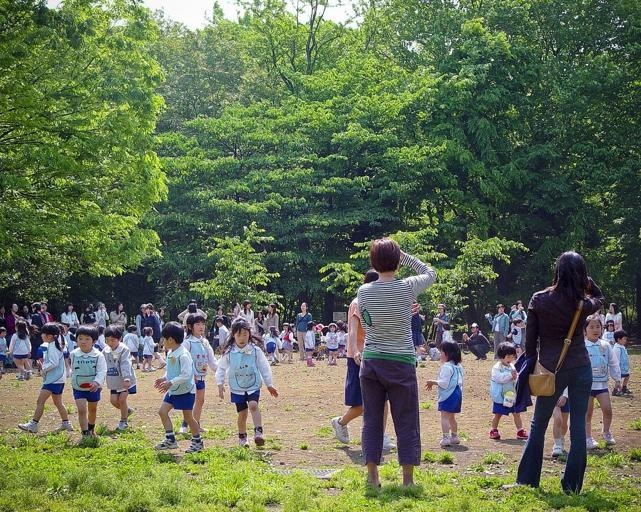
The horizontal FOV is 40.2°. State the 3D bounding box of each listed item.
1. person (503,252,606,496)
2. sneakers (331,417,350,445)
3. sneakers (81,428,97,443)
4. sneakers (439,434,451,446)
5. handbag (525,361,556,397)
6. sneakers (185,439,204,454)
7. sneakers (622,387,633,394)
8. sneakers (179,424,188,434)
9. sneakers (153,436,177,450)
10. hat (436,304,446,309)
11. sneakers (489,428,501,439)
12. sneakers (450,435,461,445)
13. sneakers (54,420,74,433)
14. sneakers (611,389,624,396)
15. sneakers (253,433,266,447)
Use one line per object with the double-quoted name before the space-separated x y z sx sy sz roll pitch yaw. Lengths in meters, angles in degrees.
"person" 3.523 1.696 12.953 1.153 3.528 0.457 -1 -4 17
"sneakers" 0.340 2.996 14.983 0.221 0.560 0.193 -18 1 38
"sneakers" -3.952 3.099 14.904 0.148 0.216 0.460 2 -23 -2
"sneakers" 2.096 3.147 14.797 0.105 0.225 0.218 3 -3 -35
"handbag" 3.242 1.816 12.901 0.181 0.490 0.485 10 -7 -39
"sneakers" -2.086 3.114 14.450 0.267 0.245 0.388 1 -5 -4
"sneakers" 6.700 2.992 19.205 0.112 0.143 0.320 2 -10 -15
"sneakers" -2.471 3.116 15.672 0.155 0.118 0.372 1 -5 -9
"sneakers" -2.629 3.190 14.754 0.394 0.219 0.156 1 -4 -3
"hat" 3.594 1.540 26.084 0.229 0.193 0.198 -1 -2 4
"sneakers" 3.038 3.124 15.356 0.175 0.185 0.404 0 -5 10
"sneakers" 2.282 3.135 14.901 0.137 0.174 0.108 0 -4 8
"sneakers" -4.652 3.103 15.923 0.261 0.185 0.295 1 -5 -9
"sneakers" 6.449 3.001 19.031 0.288 0.122 0.099 2 -2 -24
"sneakers" -1.030 3.068 14.652 0.138 0.248 0.232 -6 19 0
